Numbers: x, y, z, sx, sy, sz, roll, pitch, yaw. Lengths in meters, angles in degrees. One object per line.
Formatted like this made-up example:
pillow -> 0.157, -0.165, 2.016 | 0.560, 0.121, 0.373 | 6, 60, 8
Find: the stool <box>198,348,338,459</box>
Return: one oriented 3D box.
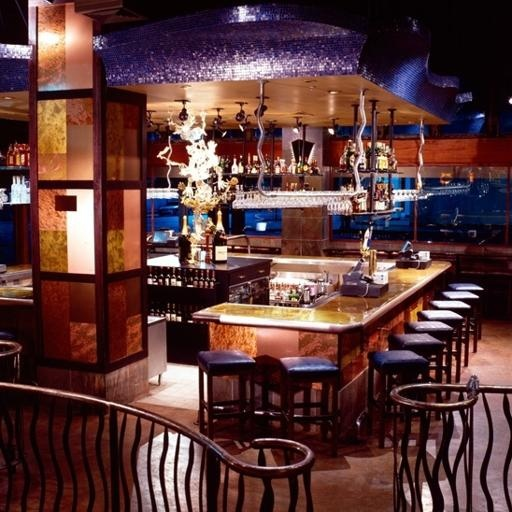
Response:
stool -> 0.141, 1.199, 4.484 | 1.408, 0.961, 0.761 | 1, 4, 9
